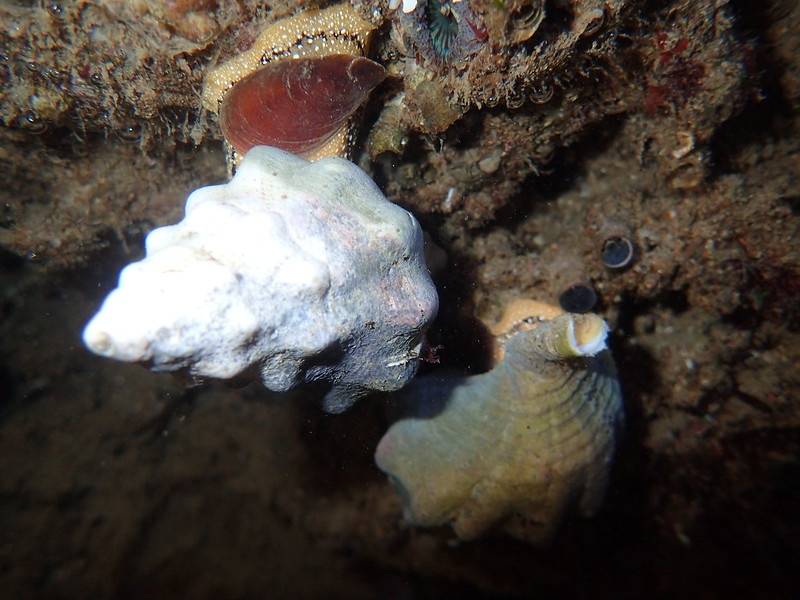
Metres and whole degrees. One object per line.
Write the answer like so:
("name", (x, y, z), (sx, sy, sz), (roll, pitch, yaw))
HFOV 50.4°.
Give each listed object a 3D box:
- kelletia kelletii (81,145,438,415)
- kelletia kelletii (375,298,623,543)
("kelletia kelletii", (-0.677, 0.113, 4.875), (1.804, 1.517, 0.664), (-20, 29, -20))
("kelletia kelletii", (0.704, 0.890, 5.351), (1.211, 1.615, 0.820), (24, 24, -10))
